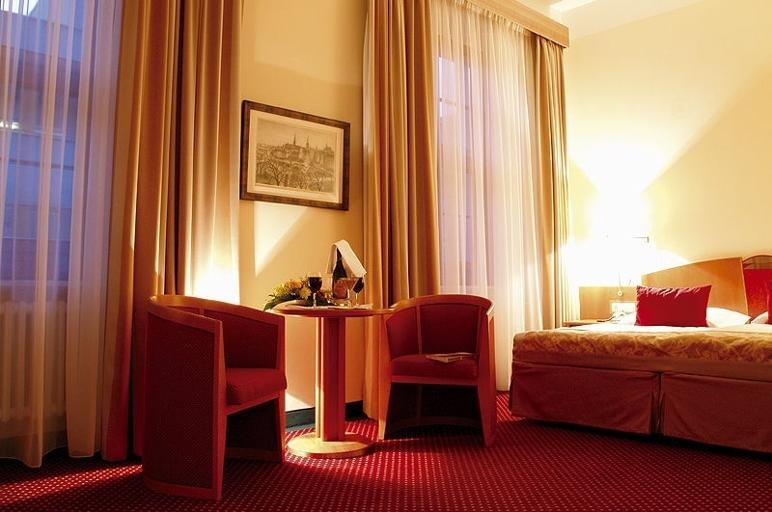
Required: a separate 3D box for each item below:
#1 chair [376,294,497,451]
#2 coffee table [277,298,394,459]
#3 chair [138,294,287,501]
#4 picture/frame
[{"bbox_3d":[0.461,0.907,4.681,0.905,1.209,0.760,-1,-7,15],"label":"chair"},{"bbox_3d":[-0.436,0.990,4.489,0.924,1.094,0.975,0,-7,-10],"label":"coffee table"},{"bbox_3d":[-1.312,0.988,4.130,0.886,1.278,1.105,0,-5,2],"label":"chair"},{"bbox_3d":[-0.889,-0.906,5.121,1.038,0.871,0.047,4,-8,-35],"label":"picture/frame"}]
